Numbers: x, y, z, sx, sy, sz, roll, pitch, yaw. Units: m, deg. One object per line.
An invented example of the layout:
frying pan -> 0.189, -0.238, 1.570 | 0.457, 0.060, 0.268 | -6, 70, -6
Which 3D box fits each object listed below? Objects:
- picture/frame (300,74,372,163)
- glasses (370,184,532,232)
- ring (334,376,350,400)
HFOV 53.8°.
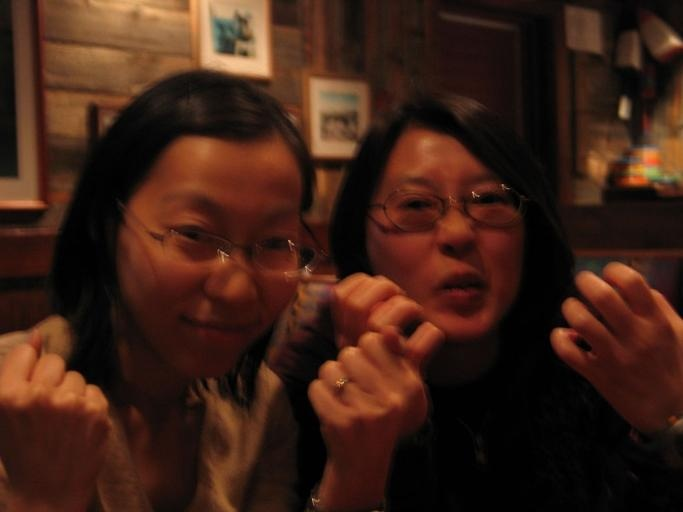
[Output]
picture/frame -> -0.010, -0.261, 1.260 | 0.138, 0.147, 0.007 | -7, 10, -38
glasses -> 0.210, -0.091, 1.262 | 0.143, 0.045, 0.145 | -2, -15, -6
ring -> 0.000, 0.220, 1.153 | 0.030, 0.030, 0.011 | 55, 15, 26
